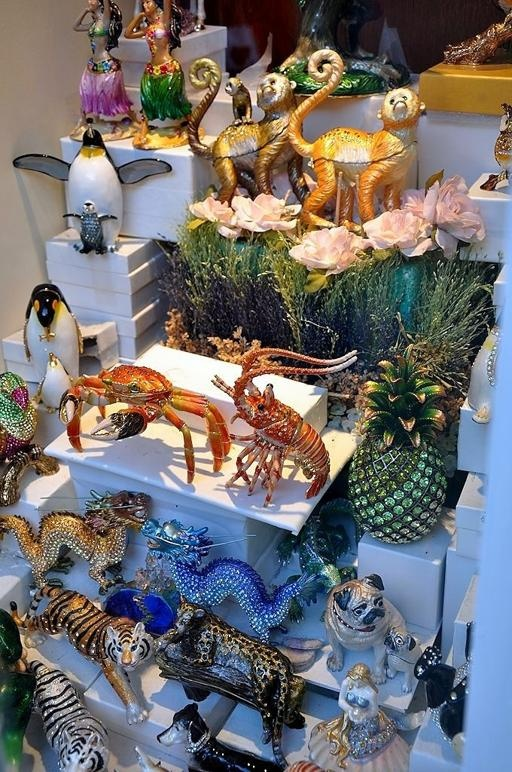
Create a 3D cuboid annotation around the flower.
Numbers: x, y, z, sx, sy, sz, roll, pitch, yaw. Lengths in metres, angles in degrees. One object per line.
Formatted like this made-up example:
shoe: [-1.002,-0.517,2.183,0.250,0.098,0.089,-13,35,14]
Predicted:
flower: [0.227,-0.387,1.565,0.458,0.160,0.401,-3,24,0]
